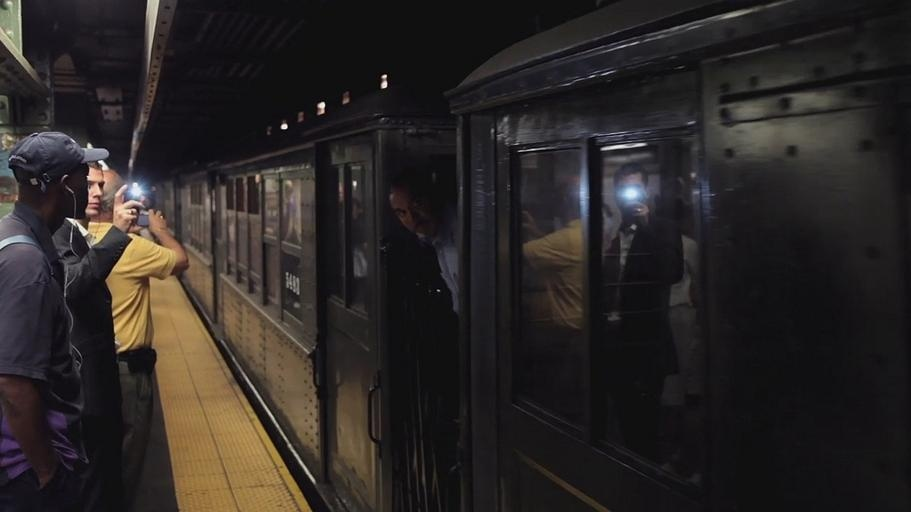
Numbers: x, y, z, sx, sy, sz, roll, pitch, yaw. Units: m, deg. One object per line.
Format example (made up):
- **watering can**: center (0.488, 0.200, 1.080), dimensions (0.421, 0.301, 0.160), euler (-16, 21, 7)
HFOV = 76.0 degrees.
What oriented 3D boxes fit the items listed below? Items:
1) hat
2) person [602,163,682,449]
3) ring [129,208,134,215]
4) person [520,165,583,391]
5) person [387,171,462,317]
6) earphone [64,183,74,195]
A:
- **hat**: center (-2.049, -0.495, 3.046), dimensions (0.465, 0.238, 0.295), euler (-27, 33, -30)
- **person**: center (0.791, 0.234, 2.485), dimensions (0.336, 1.248, 0.145), euler (2, 4, 26)
- **ring**: center (-2.096, -0.284, 3.742), dimensions (0.045, 0.041, 0.012), euler (5, 0, -25)
- **person**: center (0.585, 0.164, 2.939), dimensions (0.387, 1.094, 0.329), euler (9, 32, 29)
- **person**: center (-0.199, -0.119, 3.992), dimensions (0.561, 0.896, 0.244), euler (-15, 3, -44)
- **earphone**: center (-1.976, -0.337, 2.973), dimensions (0.013, 0.055, 0.019), euler (-40, -2, 21)
